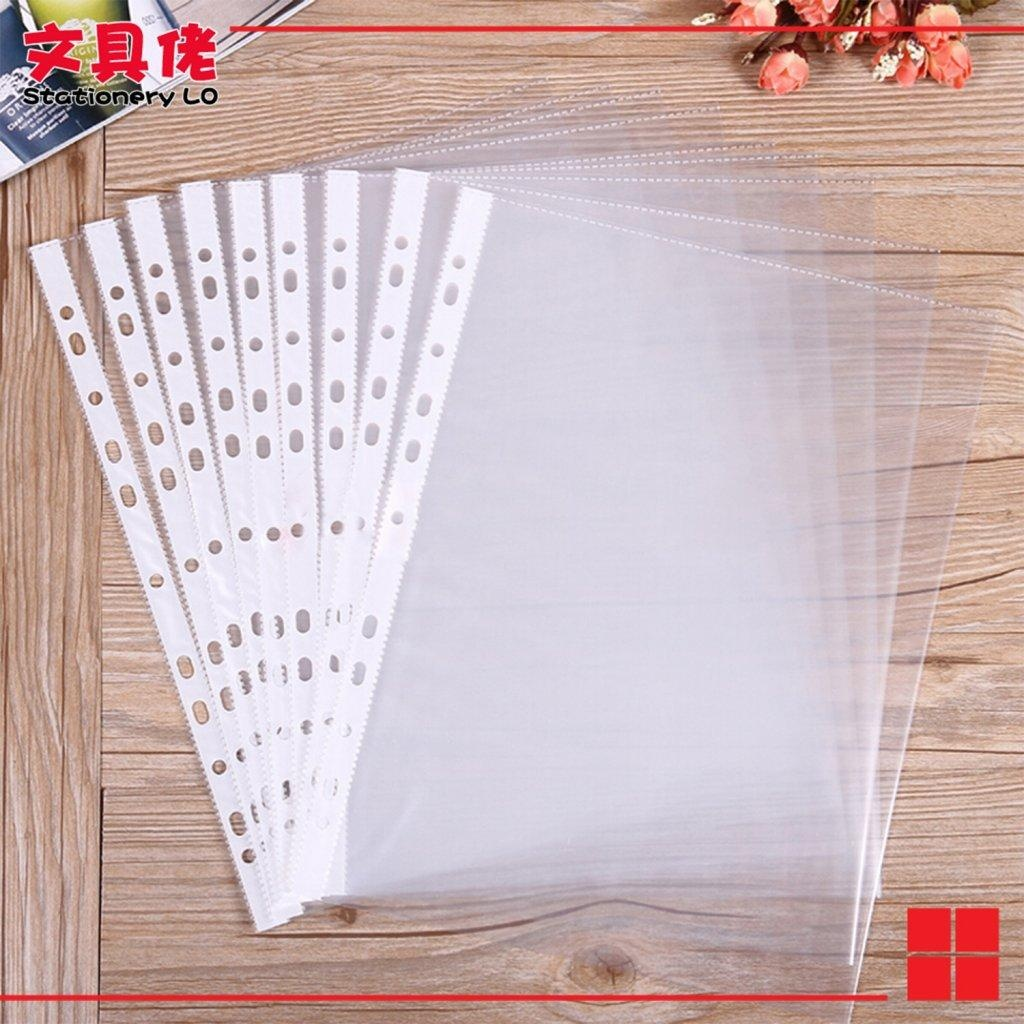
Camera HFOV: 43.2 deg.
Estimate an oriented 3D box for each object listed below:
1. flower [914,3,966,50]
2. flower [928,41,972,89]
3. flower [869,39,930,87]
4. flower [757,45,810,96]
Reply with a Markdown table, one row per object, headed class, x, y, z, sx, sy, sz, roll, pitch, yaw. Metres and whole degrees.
| class | x | y | z | sx | sy | sz | roll | pitch | yaw |
| --- | --- | --- | --- | --- | --- | --- | --- | --- | --- |
| flower | 0.418 | -0.474 | 1.269 | 0.071 | 0.040 | 0.034 | -1 | -9 | 6 |
| flower | 0.428 | -0.441 | 1.287 | 0.062 | 0.031 | 0.046 | -11 | -54 | -3 |
| flower | 0.388 | -0.446 | 1.288 | 0.053 | 0.019 | 0.049 | 29 | -56 | -10 |
| flower | 0.271 | -0.435 | 1.281 | 0.052 | 0.049 | 0.033 | 23 | -17 | 17 |
